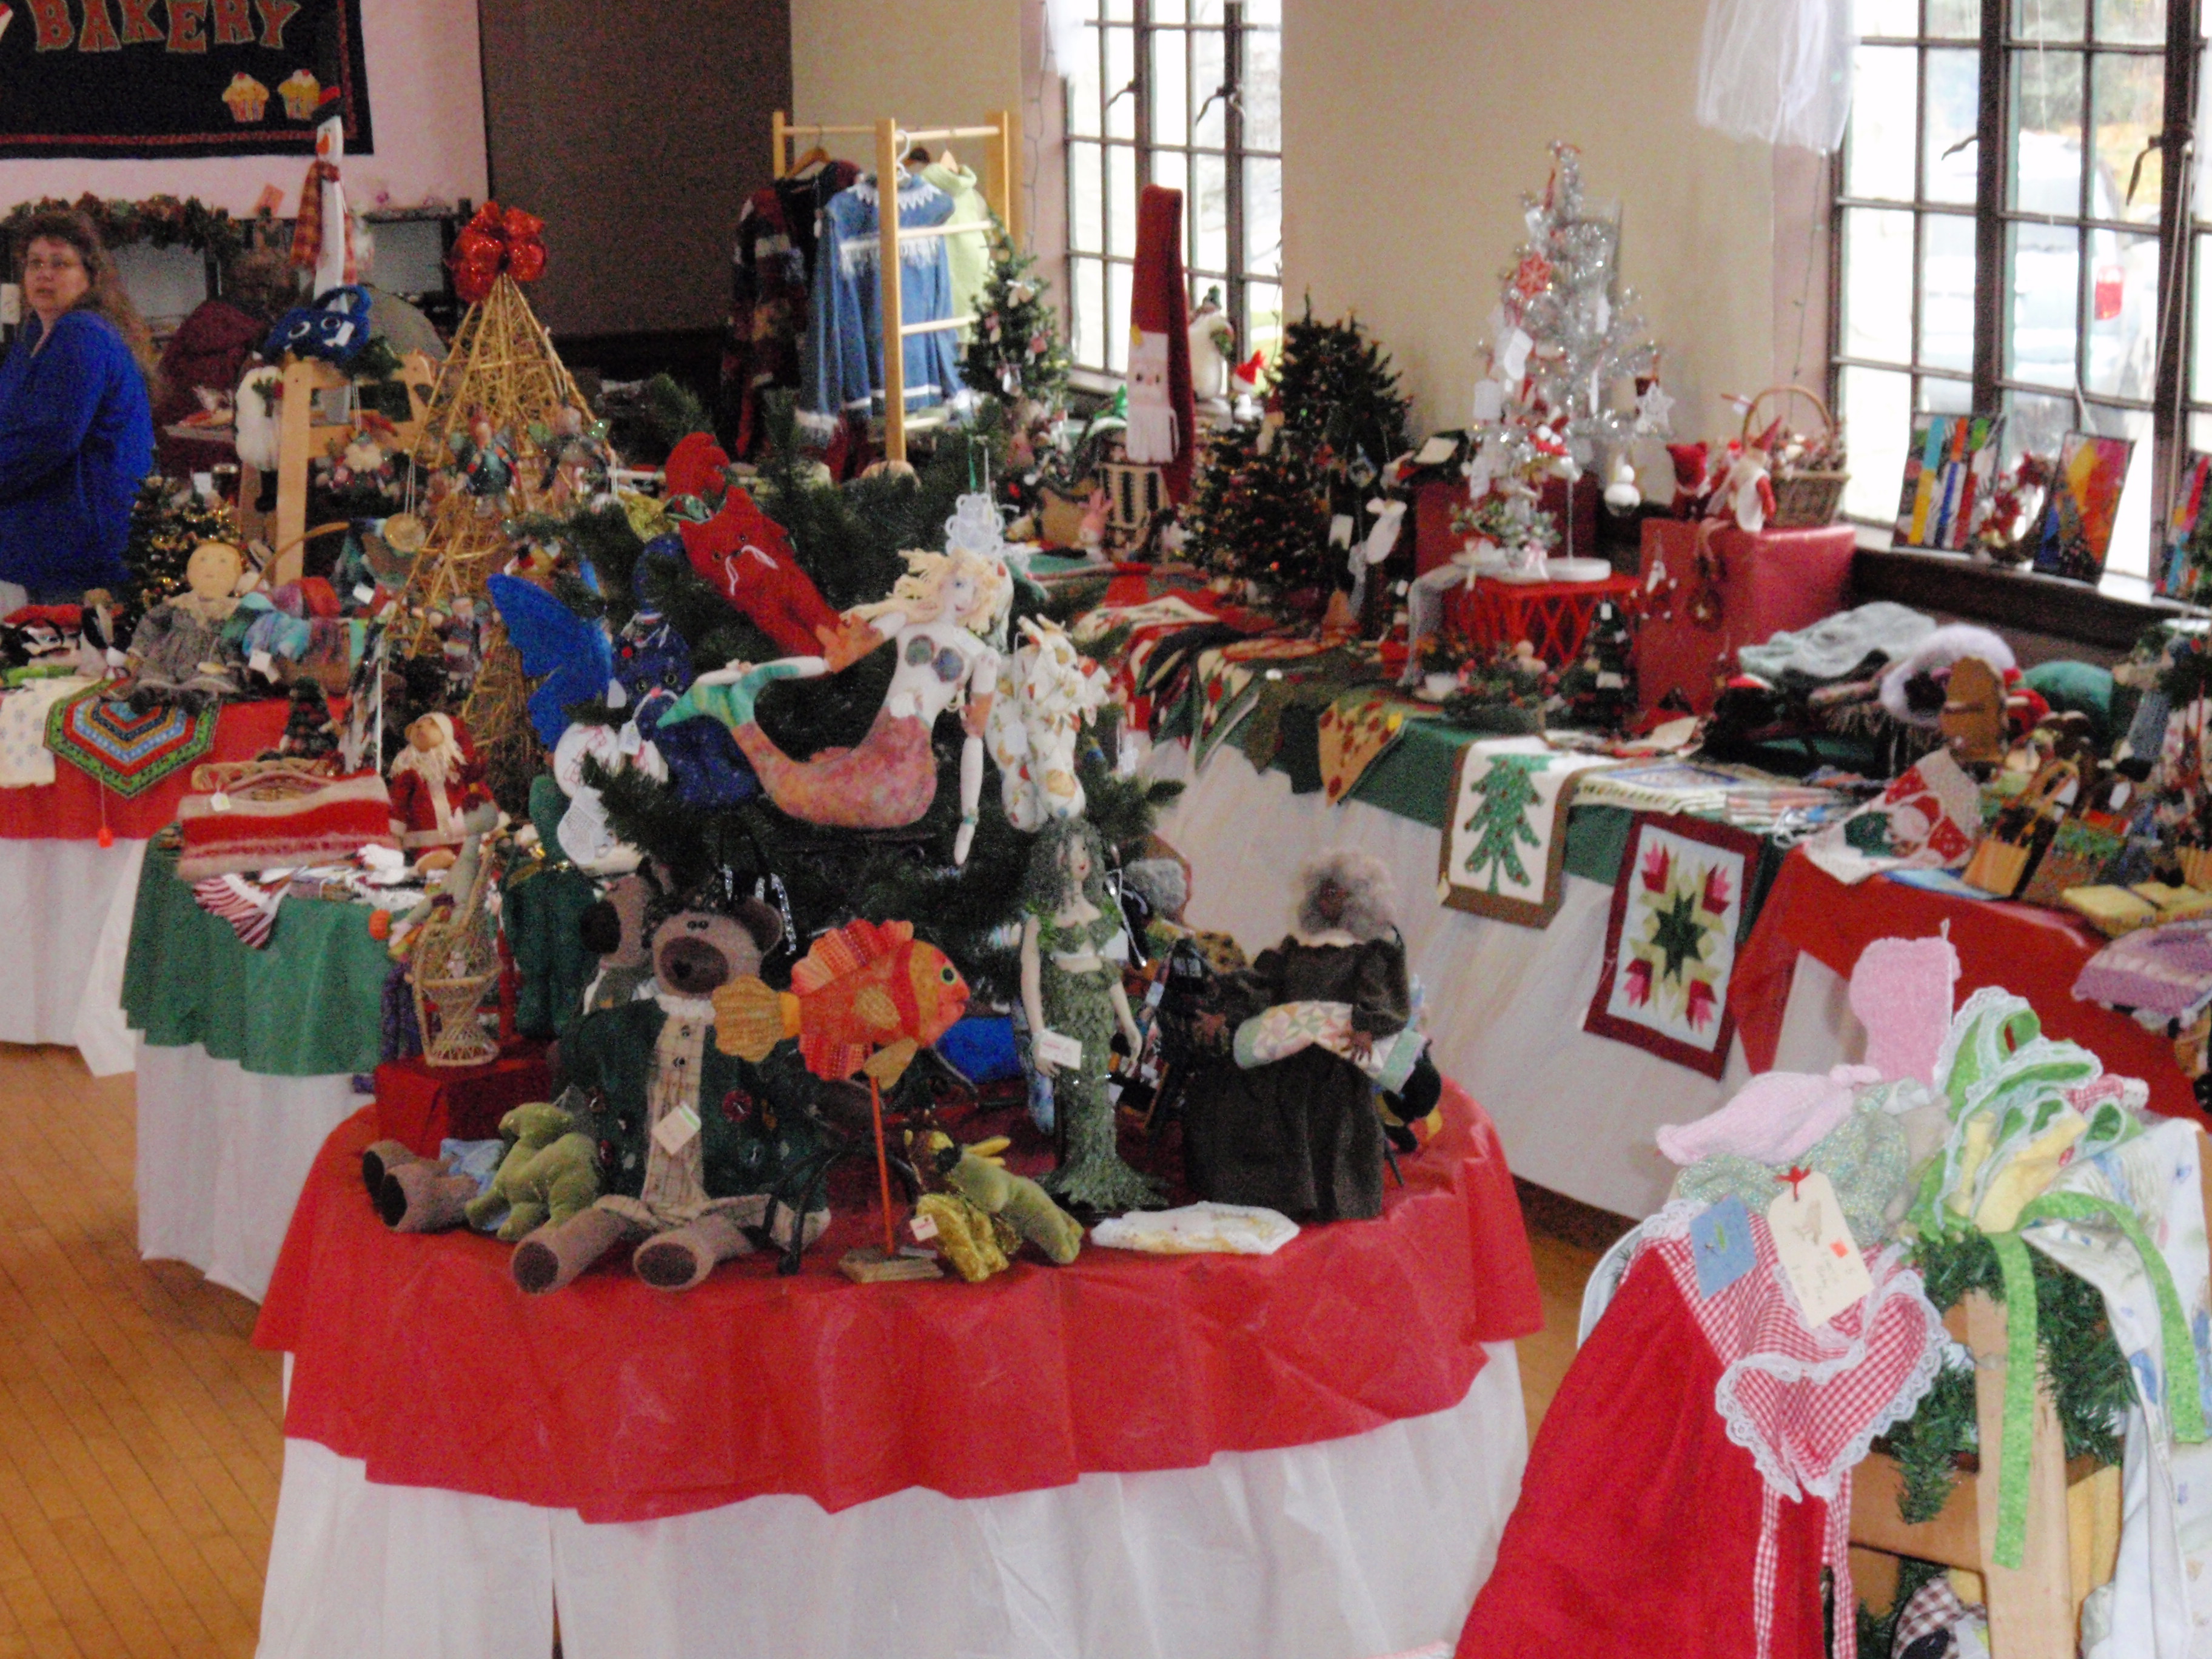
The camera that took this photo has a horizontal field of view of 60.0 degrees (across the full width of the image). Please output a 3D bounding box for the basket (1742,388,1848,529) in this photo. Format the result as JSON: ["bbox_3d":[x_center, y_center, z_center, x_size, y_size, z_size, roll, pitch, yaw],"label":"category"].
[{"bbox_3d":[1.894,-1.016,5.273,0.289,0.427,0.313,10,23,39],"label":"basket"}]

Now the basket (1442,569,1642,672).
[{"bbox_3d":[1.236,-0.633,5.603,0.340,0.248,0.354,-5,9,-33],"label":"basket"}]

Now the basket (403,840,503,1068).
[{"bbox_3d":[-1.184,0.215,3.485,0.165,0.448,0.139,-2,2,-14],"label":"basket"}]
